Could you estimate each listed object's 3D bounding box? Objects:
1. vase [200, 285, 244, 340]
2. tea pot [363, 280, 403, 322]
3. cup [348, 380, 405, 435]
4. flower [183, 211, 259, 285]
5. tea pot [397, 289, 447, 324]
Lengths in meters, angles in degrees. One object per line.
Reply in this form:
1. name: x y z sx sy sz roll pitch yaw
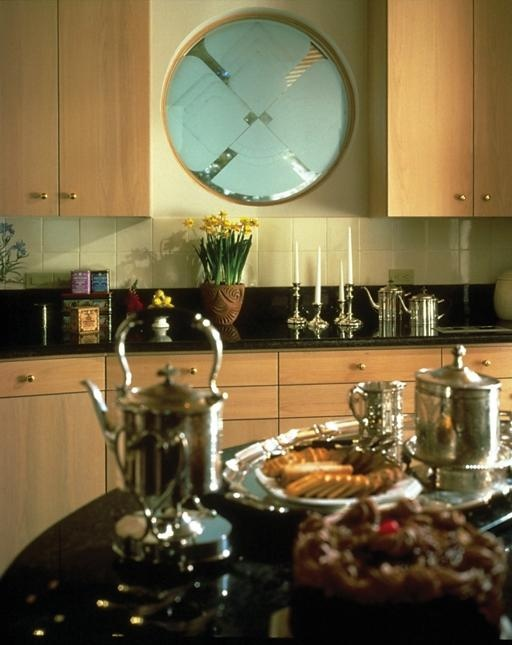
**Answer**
1. vase: -0.171 -0.046 2.736 0.235 0.295 0.224 -1 2 -27
2. tea pot: 0.622 -0.100 3.040 0.204 0.171 0.105 3 11 19
3. cup: 0.228 0.155 1.204 0.122 0.114 0.080 -5 10 -23
4. flower: -0.169 -0.360 2.948 0.332 0.330 0.364 -1 8 -5
5. tea pot: 0.809 -0.086 2.916 0.255 0.167 0.154 -4 7 -20
